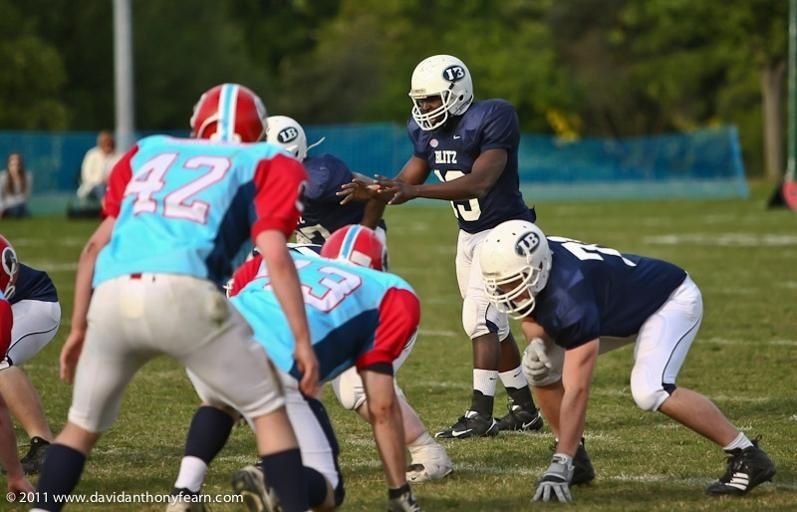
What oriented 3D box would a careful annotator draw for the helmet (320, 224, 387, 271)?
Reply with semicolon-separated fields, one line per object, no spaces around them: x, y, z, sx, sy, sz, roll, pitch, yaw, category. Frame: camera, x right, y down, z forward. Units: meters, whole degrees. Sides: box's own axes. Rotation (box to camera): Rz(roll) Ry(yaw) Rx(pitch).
-0.423;-0.123;13.424;0.423;0.554;0.486;23;23;29;helmet

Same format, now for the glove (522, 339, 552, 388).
1.367;1.069;13.370;0.162;0.408;0.313;-5;6;-12;glove

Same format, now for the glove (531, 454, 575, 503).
1.534;2.185;13.114;0.256;0.263;0.603;14;52;33;glove
